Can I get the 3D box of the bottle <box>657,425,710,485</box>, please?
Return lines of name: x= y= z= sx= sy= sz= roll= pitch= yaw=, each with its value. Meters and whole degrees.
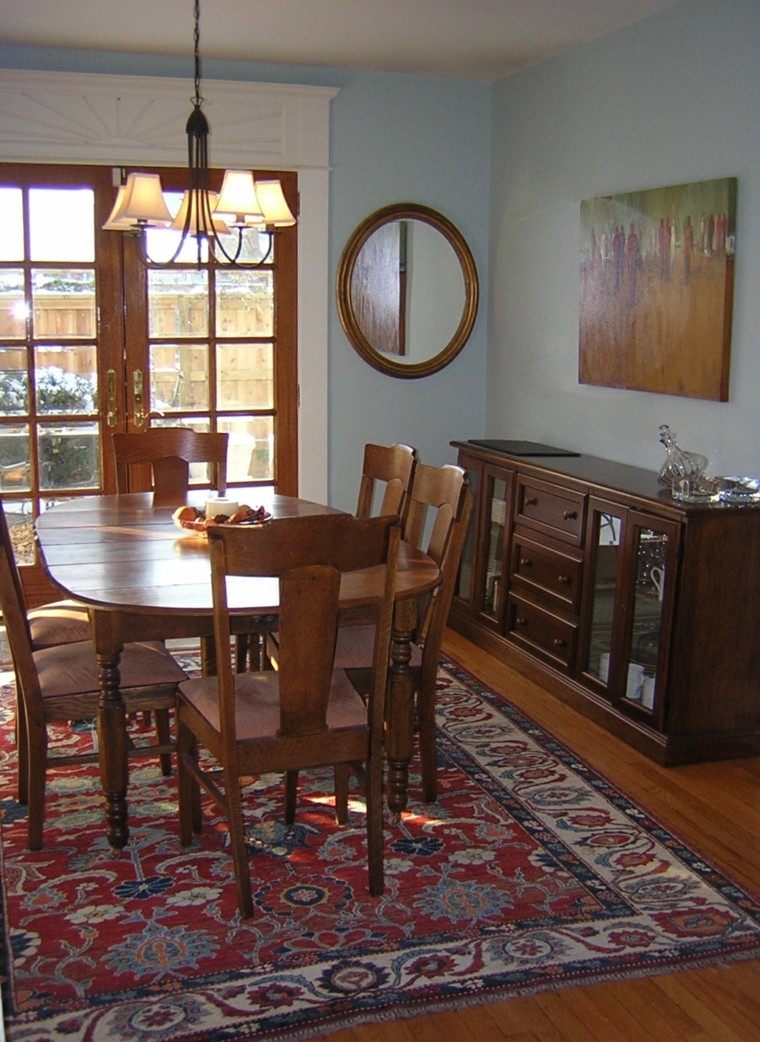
bottle: x=1.051 y=-0.222 z=2.922 sx=0.153 sy=0.197 sz=0.506 roll=3 pitch=4 yaw=21

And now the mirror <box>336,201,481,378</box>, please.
mirror: x=0.120 y=-1.277 z=4.566 sx=0.983 sy=1.058 sz=0.082 roll=-2 pitch=12 yaw=-20

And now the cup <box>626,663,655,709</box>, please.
cup: x=0.858 y=0.544 z=2.787 sx=0.113 sy=0.116 sz=0.110 roll=0 pitch=17 yaw=0
